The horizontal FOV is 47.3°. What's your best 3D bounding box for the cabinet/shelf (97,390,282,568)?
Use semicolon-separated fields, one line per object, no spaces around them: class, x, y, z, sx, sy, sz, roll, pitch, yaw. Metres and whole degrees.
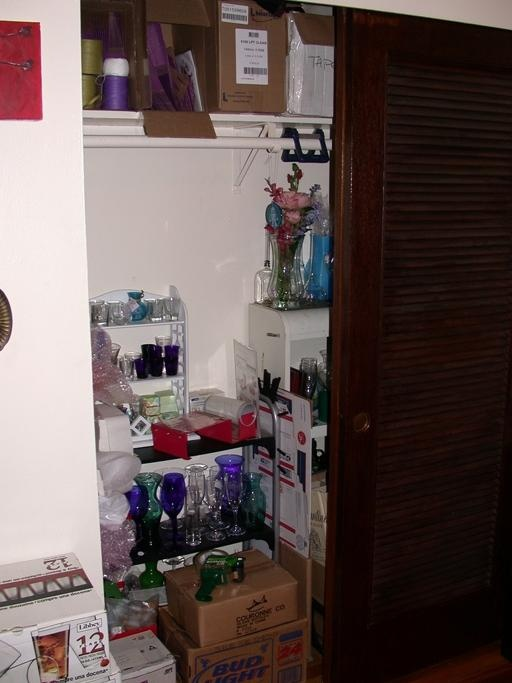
cabinet/shelf;-0.217;0.450;1.953;0.682;0.718;0.239;-1;1;-33

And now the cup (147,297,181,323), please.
cup;-0.341;-0.118;2.133;0.102;0.070;0.089;-3;10;-17

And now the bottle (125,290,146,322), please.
bottle;-0.424;-0.125;2.075;0.089;0.128;0.090;-1;-3;0

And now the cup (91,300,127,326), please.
cup;-0.499;-0.095;1.989;0.069;0.062;0.114;-1;5;-23

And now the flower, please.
flower;0.135;-0.416;2.288;0.242;0.526;0.339;-3;12;5

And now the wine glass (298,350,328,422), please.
wine glass;0.227;0.165;2.262;0.110;0.209;0.299;-3;12;6

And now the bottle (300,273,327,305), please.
bottle;0.230;-0.200;2.280;0.109;0.147;0.110;-1;-8;0
